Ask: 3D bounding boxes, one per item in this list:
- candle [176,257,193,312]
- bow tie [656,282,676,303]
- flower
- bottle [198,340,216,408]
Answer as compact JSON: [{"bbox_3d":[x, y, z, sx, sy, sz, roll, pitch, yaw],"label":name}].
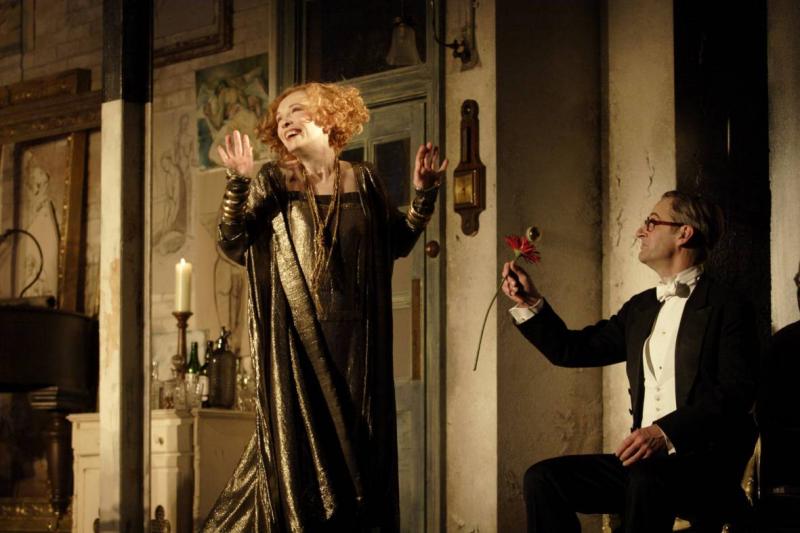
[{"bbox_3d":[-1.463,0.139,10.631,0.109,0.348,0.212,-2,-9,-5],"label":"candle"},{"bbox_3d":[1.465,0.140,8.666,0.036,0.099,0.094,12,-11,-38],"label":"bow tie"},{"bbox_3d":[0.596,0.191,8.869,0.330,0.767,0.338,18,-3,-6],"label":"flower"},{"bbox_3d":[-1.346,0.724,10.691,0.110,0.453,0.109,9,-8,1],"label":"bottle"}]
